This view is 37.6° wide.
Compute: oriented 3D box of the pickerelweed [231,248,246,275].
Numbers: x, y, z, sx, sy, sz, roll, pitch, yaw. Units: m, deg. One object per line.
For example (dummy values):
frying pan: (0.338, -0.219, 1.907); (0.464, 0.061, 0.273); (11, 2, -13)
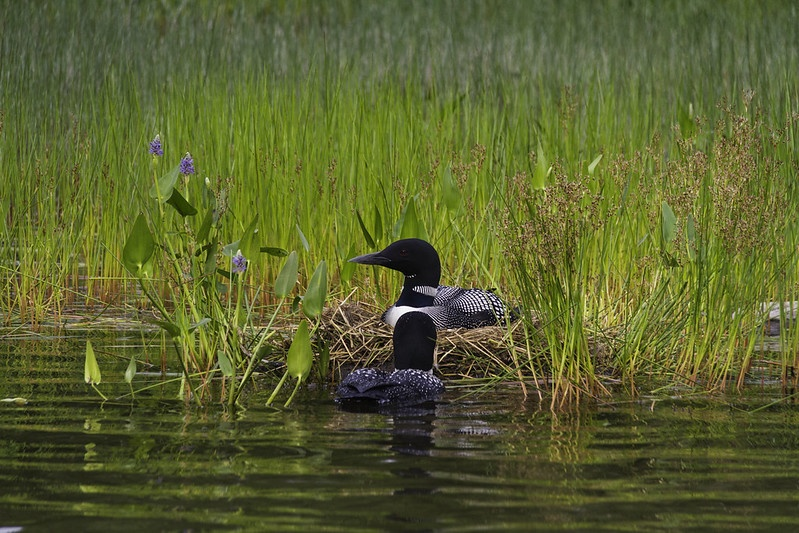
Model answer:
pickerelweed: (-0.874, -0.018, 6.373); (0.076, 0.117, 0.048); (-1, -7, 13)

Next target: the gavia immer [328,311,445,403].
gavia immer: (-0.022, 0.550, 6.471); (0.485, 0.622, 0.817); (-3, -10, 27)

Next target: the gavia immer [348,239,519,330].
gavia immer: (0.316, 0.121, 7.095); (1.244, 0.573, 0.418); (7, -2, -41)
